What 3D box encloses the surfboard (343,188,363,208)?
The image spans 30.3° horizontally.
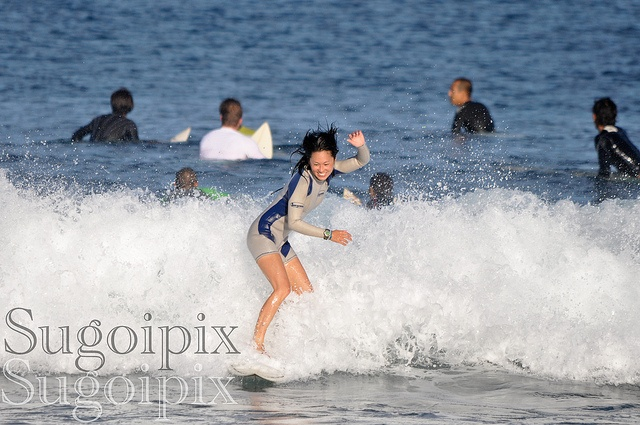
[{"bbox_3d":[0.619,-0.249,21.629,0.320,0.123,0.260,37,8,32],"label":"surfboard"}]

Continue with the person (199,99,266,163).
[{"bbox_3d":[-1.768,-1.601,24.100,1.386,1.128,0.773,7,24,7],"label":"person"}]

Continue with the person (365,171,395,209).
[{"bbox_3d":[1.118,-0.391,21.185,0.629,0.891,0.567,3,-2,-11],"label":"person"}]

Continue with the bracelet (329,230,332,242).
[{"bbox_3d":[0.196,0.366,18.475,0.039,0.111,0.072,0,20,1],"label":"bracelet"}]

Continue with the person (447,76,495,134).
[{"bbox_3d":[3.106,-2.010,25.034,1.055,1.571,1.126,2,0,7],"label":"person"}]

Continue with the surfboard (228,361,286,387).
[{"bbox_3d":[-0.961,2.567,18.613,0.607,0.379,0.152,4,38,18],"label":"surfboard"}]

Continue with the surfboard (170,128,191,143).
[{"bbox_3d":[-2.780,-1.566,24.312,0.152,0.071,0.719,29,30,7],"label":"surfboard"}]
